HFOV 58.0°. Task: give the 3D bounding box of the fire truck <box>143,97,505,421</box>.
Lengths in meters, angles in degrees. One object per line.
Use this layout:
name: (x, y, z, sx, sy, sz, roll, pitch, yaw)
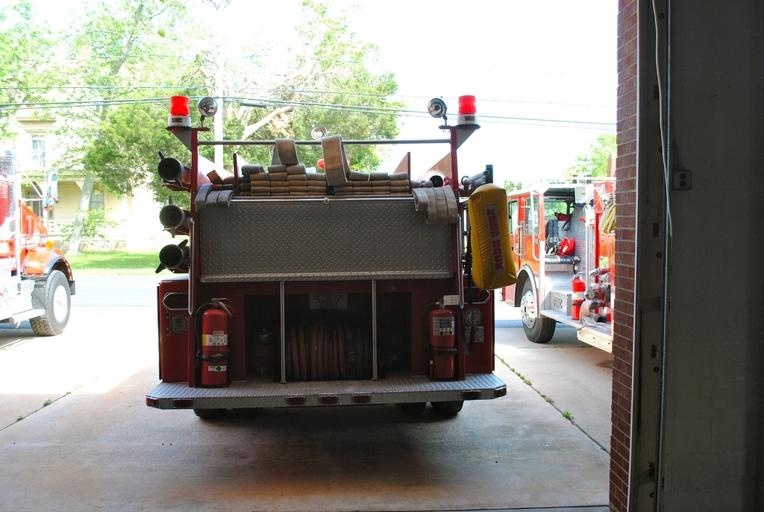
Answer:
fire truck: (-0.510, 0.231, 9.593, 3.886, 3.220, 6.644, 0, -3, 2)
